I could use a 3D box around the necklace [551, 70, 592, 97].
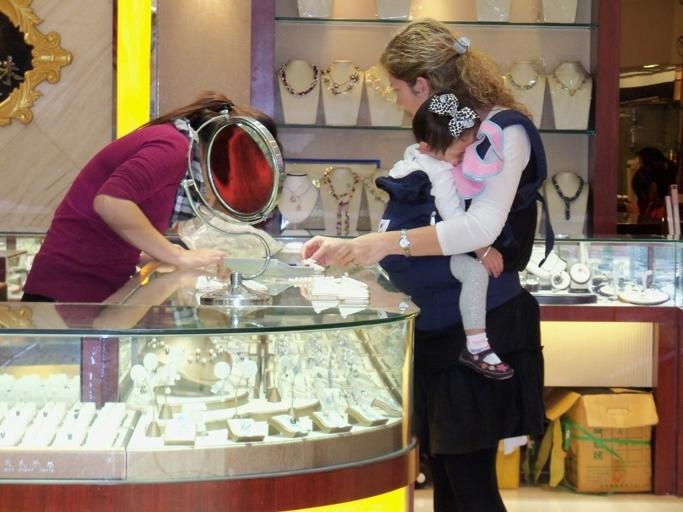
[{"bbox_3d":[1.084,-0.839,2.981,0.133,0.092,0.147,2,23,-1],"label":"necklace"}]

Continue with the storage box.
[{"bbox_3d":[1.164,0.762,2.917,0.549,0.394,0.454,0,3,1],"label":"storage box"}]

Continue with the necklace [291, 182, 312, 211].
[{"bbox_3d":[-0.192,-0.285,2.941,0.127,0.165,0.081,-1,8,-3],"label":"necklace"}]

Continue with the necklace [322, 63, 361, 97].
[{"bbox_3d":[-0.003,-0.827,2.974,0.228,0.211,0.127,0,7,-5],"label":"necklace"}]

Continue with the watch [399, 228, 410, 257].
[{"bbox_3d":[0.169,-0.036,1.686,0.038,0.072,0.053,-1,9,0],"label":"watch"}]

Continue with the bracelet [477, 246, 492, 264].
[{"bbox_3d":[0.390,-0.001,1.712,0.022,0.041,0.030,33,-25,-27],"label":"bracelet"}]

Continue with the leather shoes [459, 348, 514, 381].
[{"bbox_3d":[0.380,0.285,1.639,0.128,0.055,0.068,19,24,21],"label":"leather shoes"}]
